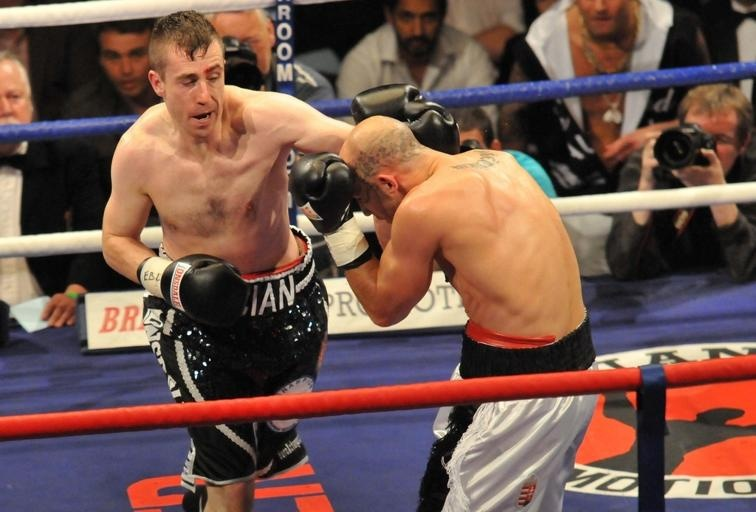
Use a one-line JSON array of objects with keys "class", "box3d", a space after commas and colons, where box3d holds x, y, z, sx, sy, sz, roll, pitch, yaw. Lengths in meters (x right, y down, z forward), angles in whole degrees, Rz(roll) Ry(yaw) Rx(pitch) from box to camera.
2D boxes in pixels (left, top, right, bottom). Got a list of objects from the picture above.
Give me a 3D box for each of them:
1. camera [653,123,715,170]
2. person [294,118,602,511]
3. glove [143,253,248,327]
[{"class": "camera", "box3d": [1.385, -0.511, 4.050, 0.278, 0.159, 0.287, 10, 28, 23]}, {"class": "person", "box3d": [0.309, 0.205, 3.225, 0.882, 1.439, 0.535, -2, 11, 18]}, {"class": "glove", "box3d": [-0.678, 0.112, 3.354, 0.288, 0.226, 0.535, -8, 13, -42]}]
